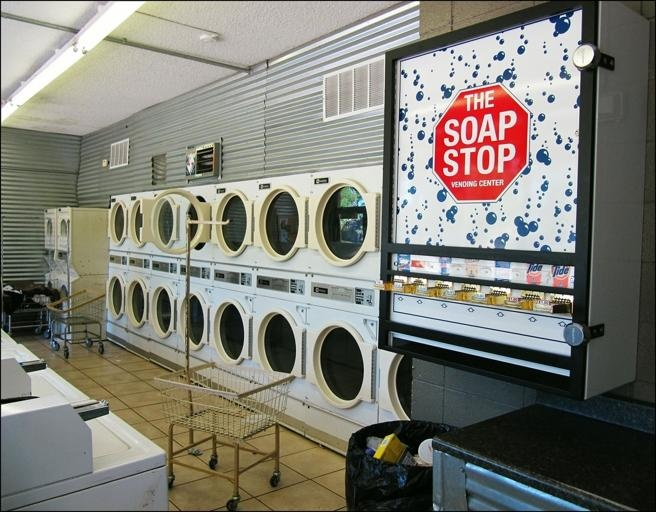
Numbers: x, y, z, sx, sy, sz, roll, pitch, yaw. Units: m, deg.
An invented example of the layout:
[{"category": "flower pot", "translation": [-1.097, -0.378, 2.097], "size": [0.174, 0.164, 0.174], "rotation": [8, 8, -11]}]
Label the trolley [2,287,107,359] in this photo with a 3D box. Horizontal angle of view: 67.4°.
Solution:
[{"category": "trolley", "translation": [-3.996, 0.919, 7.045], "size": [1.513, 1.069, 0.790], "rotation": [-2, 3, -26]}]
